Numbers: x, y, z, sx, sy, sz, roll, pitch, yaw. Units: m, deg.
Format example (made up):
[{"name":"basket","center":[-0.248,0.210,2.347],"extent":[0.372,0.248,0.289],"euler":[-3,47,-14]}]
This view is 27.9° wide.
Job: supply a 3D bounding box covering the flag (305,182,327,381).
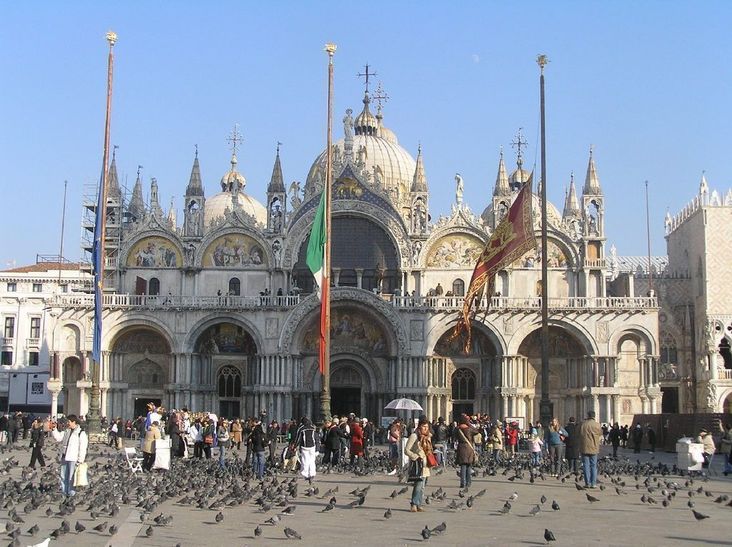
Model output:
[{"name":"flag","center":[-2.258,-0.740,70.205],"extent":[0.734,12.212,0.797],"euler":[-4,-4,-1]}]
